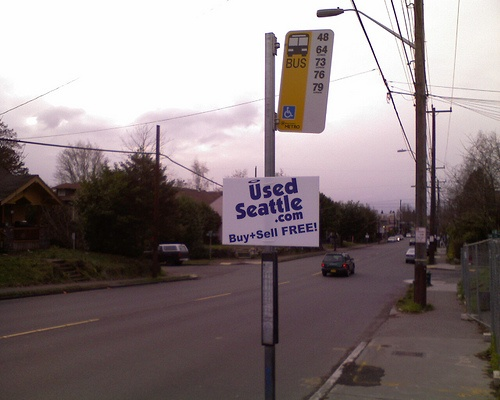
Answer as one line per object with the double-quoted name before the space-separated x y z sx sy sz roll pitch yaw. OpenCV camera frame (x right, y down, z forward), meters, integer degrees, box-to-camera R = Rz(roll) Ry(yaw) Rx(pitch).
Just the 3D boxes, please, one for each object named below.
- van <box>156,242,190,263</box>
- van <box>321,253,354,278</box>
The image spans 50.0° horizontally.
"van" -6.525 4.510 44.903 2.413 1.391 1.477 3 -3 13
"van" 5.360 3.984 32.588 1.040 1.007 1.919 0 1 23
